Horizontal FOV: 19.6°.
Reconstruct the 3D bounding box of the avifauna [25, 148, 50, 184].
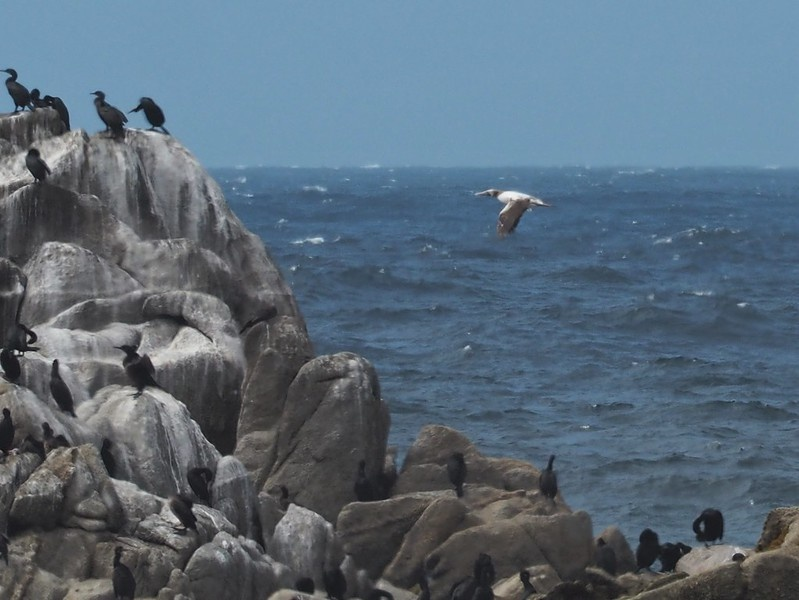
[{"bbox_3d":[-12.344,-4.688,79.398,0.877,1.112,1.084,7,6,-9],"label":"avifauna"}]
